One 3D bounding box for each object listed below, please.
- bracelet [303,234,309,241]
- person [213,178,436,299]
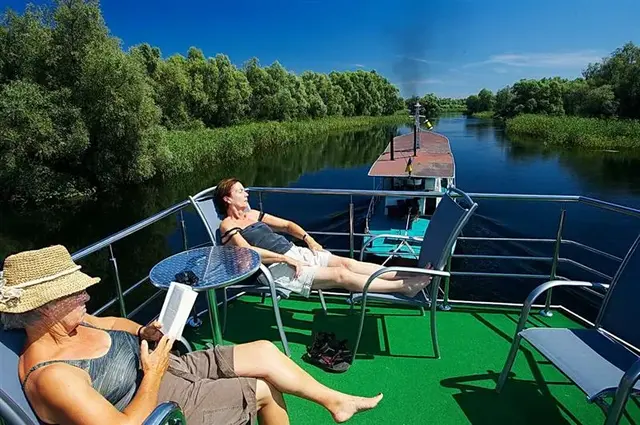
[{"bbox_3d":[-0.166,0.297,4.131,0.087,0.027,0.029,-38,16,54],"label":"bracelet"},{"bbox_3d":[0.014,0.326,3.870,2.338,0.954,0.893,10,20,4],"label":"person"}]
